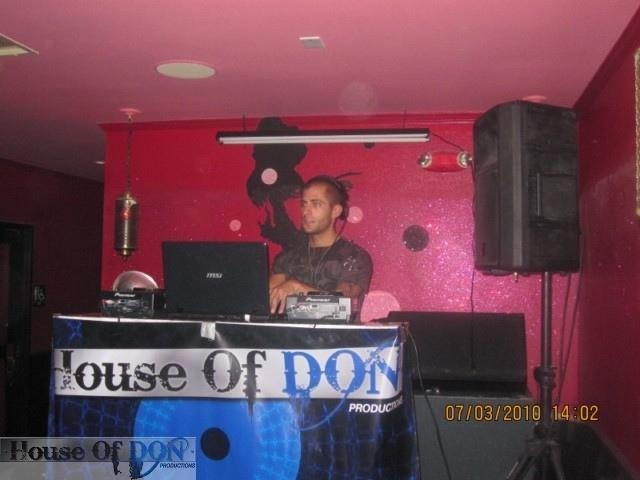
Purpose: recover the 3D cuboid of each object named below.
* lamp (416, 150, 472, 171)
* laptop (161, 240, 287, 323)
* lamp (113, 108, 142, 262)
[{"bbox_3d":[1.081,-0.675,6.139,0.369,0.217,0.143,2,0,5],"label":"lamp"},{"bbox_3d":[-0.668,0.243,4.602,0.754,0.580,0.049,11,7,7],"label":"laptop"},{"bbox_3d":[-1.762,-0.536,6.640,0.271,1.353,0.530,7,8,-15],"label":"lamp"}]
